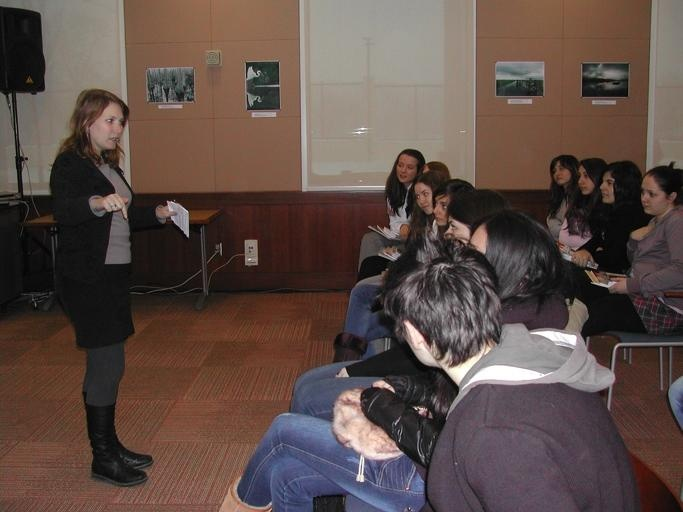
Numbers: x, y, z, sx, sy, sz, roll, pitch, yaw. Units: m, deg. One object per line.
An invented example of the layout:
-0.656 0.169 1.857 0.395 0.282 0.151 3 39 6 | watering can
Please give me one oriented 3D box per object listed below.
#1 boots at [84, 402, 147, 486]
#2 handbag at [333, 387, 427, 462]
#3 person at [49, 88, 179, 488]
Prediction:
-1.108 0.928 2.544 0.271 0.417 0.126 6 13 2 | boots
0.066 0.574 1.680 0.149 0.165 0.229 -11 16 -40 | handbag
-1.180 0.155 2.527 0.413 1.901 0.484 -4 11 -19 | person
